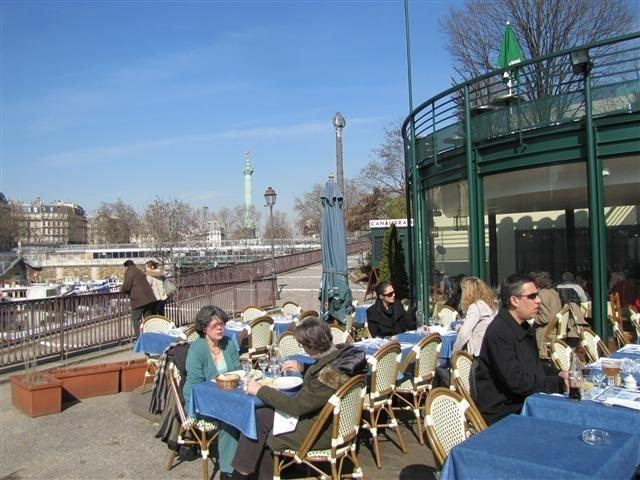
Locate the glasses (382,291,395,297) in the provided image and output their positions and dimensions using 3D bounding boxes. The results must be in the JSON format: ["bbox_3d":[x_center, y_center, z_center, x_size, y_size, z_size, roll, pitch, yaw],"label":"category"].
[{"bbox_3d":[1.185,0.927,9.867,0.261,0.099,0.149,-6,0,-33],"label":"glasses"}]

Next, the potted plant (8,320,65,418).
[{"bbox_3d":[-4.621,2.425,9.443,0.927,0.953,0.549,-5,0,38],"label":"potted plant"}]

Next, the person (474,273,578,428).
[{"bbox_3d":[2.213,1.471,6.399,0.835,2.113,1.029,-4,6,-29],"label":"person"}]
